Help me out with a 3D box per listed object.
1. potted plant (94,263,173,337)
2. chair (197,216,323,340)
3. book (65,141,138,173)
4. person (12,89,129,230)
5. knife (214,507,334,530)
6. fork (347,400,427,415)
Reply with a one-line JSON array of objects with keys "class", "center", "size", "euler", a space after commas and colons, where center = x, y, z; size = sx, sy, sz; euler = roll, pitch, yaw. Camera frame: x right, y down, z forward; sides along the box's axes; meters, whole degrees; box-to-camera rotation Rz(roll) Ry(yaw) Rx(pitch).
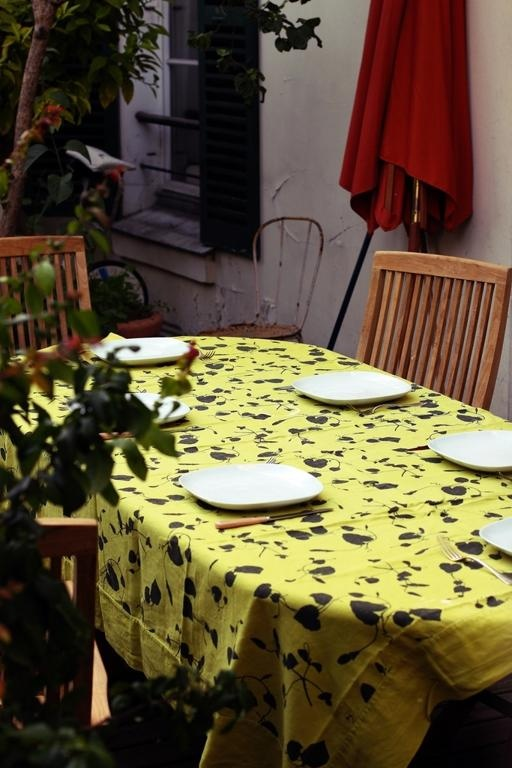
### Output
[{"class": "potted plant", "center": [-0.848, -0.594, 4.134], "size": [0.458, 0.456, 0.998], "euler": [3, 18, -15]}, {"class": "chair", "center": [0.101, -0.537, 3.390], "size": [0.475, 0.709, 1.394], "euler": [9, 17, 3]}, {"class": "book", "center": [-0.867, -1.249, 3.546], "size": [0.337, 0.133, 0.667], "euler": [3, 18, -16]}, {"class": "person", "center": [-1.272, -1.611, 4.474], "size": [0.469, 0.881, 0.581], "euler": [29, 37, 31]}, {"class": "knife", "center": [0.025, 0.205, 0.964], "size": [0.139, 0.010, 0.017], "euler": [-4, 11, -28]}, {"class": "fork", "center": [0.303, 0.054, 1.478], "size": [0.106, 0.018, 0.063], "euler": [-10, 8, -30]}]
